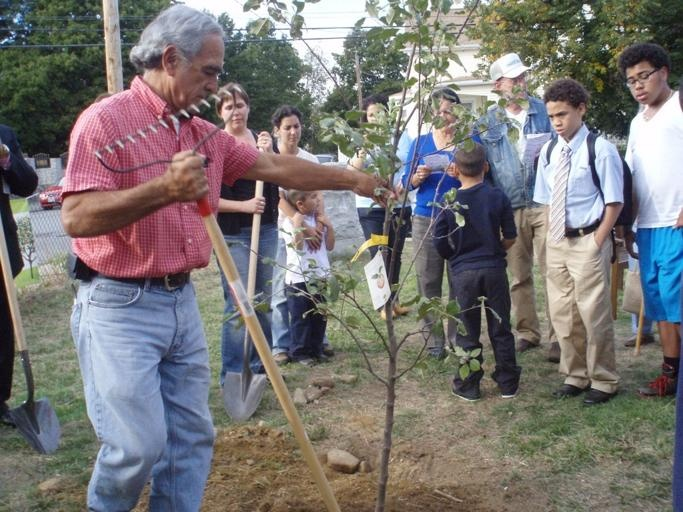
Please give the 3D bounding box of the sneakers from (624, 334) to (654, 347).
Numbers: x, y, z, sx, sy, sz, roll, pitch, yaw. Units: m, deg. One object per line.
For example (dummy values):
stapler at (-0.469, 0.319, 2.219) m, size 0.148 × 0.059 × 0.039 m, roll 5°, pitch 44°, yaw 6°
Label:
sneakers at (2.800, 0.797, 6.870) m, size 0.306 × 0.118 × 0.107 m, roll -3°, pitch 3°, yaw -4°

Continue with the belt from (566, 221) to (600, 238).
belt at (1.889, -0.211, 5.754) m, size 0.253 × 0.119 × 0.051 m, roll -2°, pitch 4°, yaw 14°

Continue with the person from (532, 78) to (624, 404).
person at (1.870, -0.153, 5.920) m, size 0.536 × 2.568 × 0.755 m, roll -5°, pitch 5°, yaw -18°

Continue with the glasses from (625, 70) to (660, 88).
glasses at (2.311, -1.387, 5.652) m, size 0.141 × 0.040 × 0.133 m, roll -28°, pitch 8°, yaw -25°

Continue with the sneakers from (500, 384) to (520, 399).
sneakers at (1.383, 1.103, 6.019) m, size 0.168 × 0.096 × 0.160 m, roll -3°, pitch 3°, yaw 3°

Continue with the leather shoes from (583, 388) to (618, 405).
leather shoes at (2.033, 1.095, 5.736) m, size 0.306 × 0.112 × 0.103 m, roll -4°, pitch 5°, yaw -4°

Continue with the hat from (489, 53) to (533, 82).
hat at (1.514, -1.745, 6.846) m, size 0.250 × 0.175 × 0.331 m, roll -27°, pitch 19°, yaw -27°

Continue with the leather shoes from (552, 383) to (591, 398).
leather shoes at (1.875, 1.089, 5.935) m, size 0.312 × 0.122 × 0.109 m, roll 2°, pitch 2°, yaw -3°
